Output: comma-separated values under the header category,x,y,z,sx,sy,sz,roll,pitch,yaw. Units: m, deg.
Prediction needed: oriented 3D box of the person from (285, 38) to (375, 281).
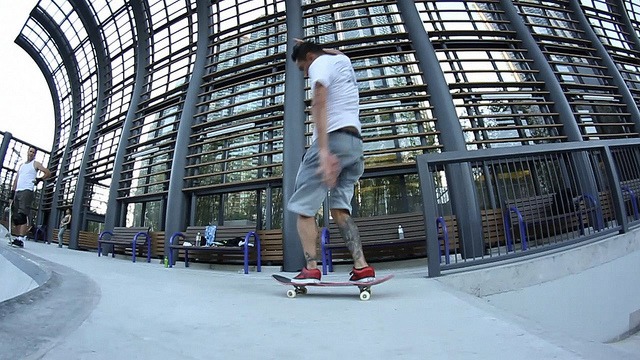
category,x,y,z,sx,sy,sz,roll,pitch,yaw
person,0.206,-0.340,4.854,1.225,3.597,1.114,3,13,6

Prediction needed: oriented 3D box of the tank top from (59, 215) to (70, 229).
category,x,y,z,sx,sy,sz,roll,pitch,yaw
tank top,-10.213,1.716,12.599,0.342,0.527,0.528,-10,17,-41

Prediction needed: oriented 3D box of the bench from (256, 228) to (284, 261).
category,x,y,z,sx,sy,sz,roll,pitch,yaw
bench,-1.268,1.702,8.344,1.002,0.835,0.197,0,-12,12

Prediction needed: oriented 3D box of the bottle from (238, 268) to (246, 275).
category,x,y,z,sx,sy,sz,roll,pitch,yaw
bottle,-1.877,2.243,7.651,0.159,0.070,0.202,1,3,-1

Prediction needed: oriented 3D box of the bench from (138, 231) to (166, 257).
category,x,y,z,sx,sy,sz,roll,pitch,yaw
bench,-5.180,1.962,9.729,0.500,0.606,0.910,-10,-11,30

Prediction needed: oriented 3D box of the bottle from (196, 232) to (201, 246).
category,x,y,z,sx,sy,sz,roll,pitch,yaw
bottle,-3.277,1.620,8.500,0.122,0.349,0.430,-4,14,-21

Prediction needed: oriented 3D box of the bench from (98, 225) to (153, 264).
category,x,y,z,sx,sy,sz,roll,pitch,yaw
bench,-6.188,1.999,9.873,2.042,0.920,0.659,-3,-3,30

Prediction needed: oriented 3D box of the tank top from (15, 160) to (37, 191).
category,x,y,z,sx,sy,sz,roll,pitch,yaw
tank top,-8.023,-0.122,8.563,0.566,0.839,0.261,2,13,3

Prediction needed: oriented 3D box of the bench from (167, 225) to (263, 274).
category,x,y,z,sx,sy,sz,roll,pitch,yaw
bench,-2.819,1.767,8.328,2.438,1.008,0.811,-3,-3,18
